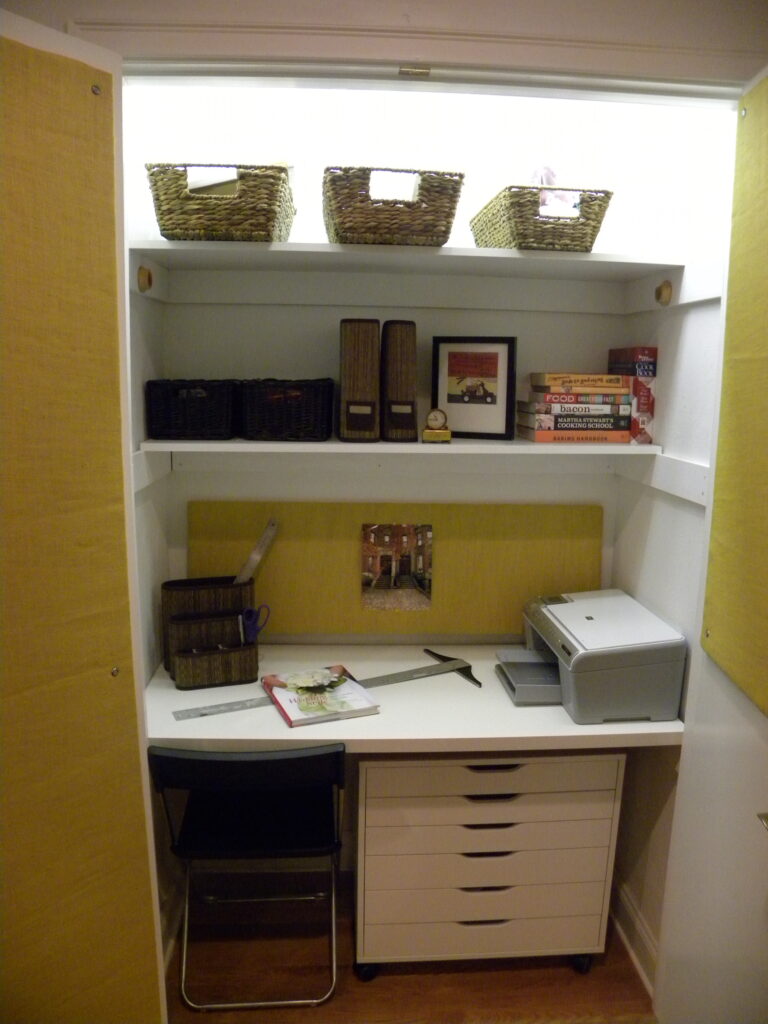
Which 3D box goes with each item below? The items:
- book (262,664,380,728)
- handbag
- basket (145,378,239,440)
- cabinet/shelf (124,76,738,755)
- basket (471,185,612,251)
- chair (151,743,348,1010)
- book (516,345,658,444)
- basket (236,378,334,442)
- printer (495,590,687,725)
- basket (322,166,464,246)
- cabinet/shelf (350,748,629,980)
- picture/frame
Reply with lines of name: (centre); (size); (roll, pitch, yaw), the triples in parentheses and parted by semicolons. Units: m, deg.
book: (-0.163, 0.451, 2.071); (0.237, 0.031, 0.257); (-7, 17, -23)
handbag: (-0.471, 0.302, 2.241); (0.258, 0.239, 0.298); (-5, 16, -16)
basket: (-0.472, -0.251, 2.043); (0.161, 0.108, 0.168); (0, 16, -5)
cabinet/shelf: (0.097, -0.289, 2.111); (1.644, 1.641, 0.558); (0, 3, -4)
basket: (0.328, -0.717, 2.070); (0.221, 0.151, 0.402); (-11, 19, -35)
chair: (-0.346, 0.924, 2.092); (0.449, 0.750, 0.557); (-1, 31, -7)
book: (0.536, -0.312, 2.202); (0.335, 0.241, 0.192); (-3, 16, -11)
basket: (-0.246, -0.248, 1.991); (0.165, 0.115, 0.172); (1, 13, 0)
printer: (0.505, 0.355, 2.159); (0.393, 0.211, 0.422); (-2, 16, -6)
basket: (0.020, -0.670, 1.918); (0.230, 0.114, 0.198); (0, 10, -6)
cabinet/shelf: (0.256, 0.781, 2.284); (0.830, 0.753, 0.488); (0, 3, -3)
picture/frame: (0.235, -0.333, 2.214); (0.212, 0.273, 0.016); (3, 31, 9)
